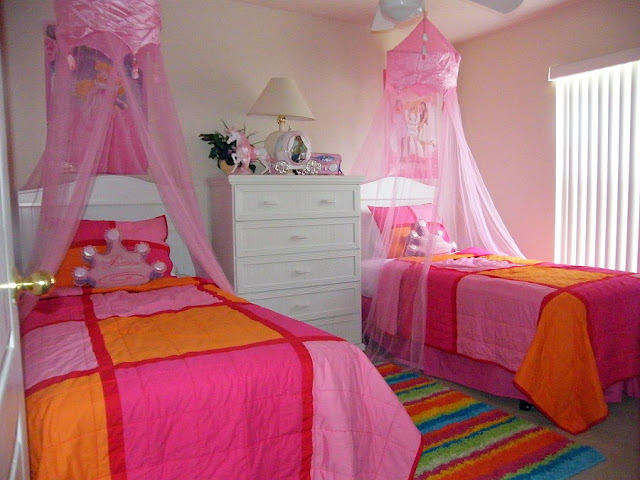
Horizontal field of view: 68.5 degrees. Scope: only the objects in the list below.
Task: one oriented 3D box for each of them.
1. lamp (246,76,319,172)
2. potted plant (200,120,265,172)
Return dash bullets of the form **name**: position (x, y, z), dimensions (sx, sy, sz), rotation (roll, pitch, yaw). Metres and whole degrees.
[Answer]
- **lamp**: position (-0.318, -0.992, 4.142), dimensions (0.664, 0.845, 0.652), rotation (1, 5, -1)
- **potted plant**: position (-0.653, -0.687, 3.759), dimensions (0.485, 0.356, 0.500), rotation (2, -2, 42)
